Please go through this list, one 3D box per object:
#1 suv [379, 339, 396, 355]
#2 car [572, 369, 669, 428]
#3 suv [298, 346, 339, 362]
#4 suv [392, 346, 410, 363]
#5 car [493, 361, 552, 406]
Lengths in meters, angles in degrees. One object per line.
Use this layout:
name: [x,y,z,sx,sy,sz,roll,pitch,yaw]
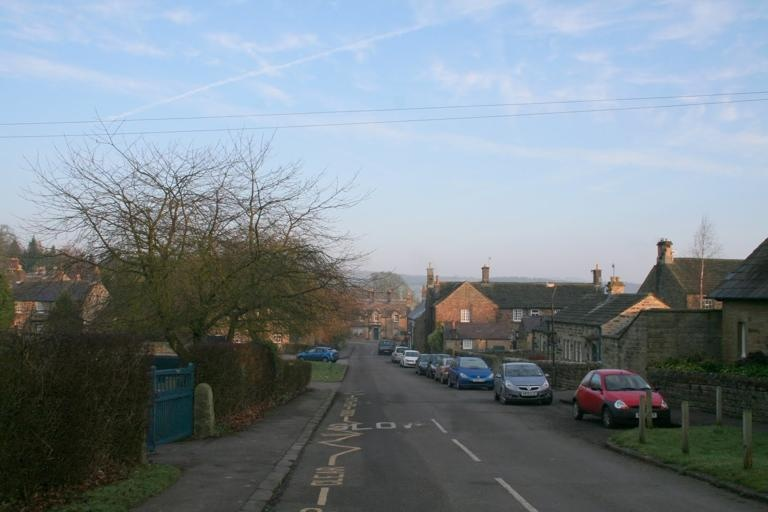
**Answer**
suv: [0.375,12.689,101.278,2.021,1.673,1.679,-1,-1,6]
car: [8.056,4.820,24.287,1.684,1.866,3.642,-1,-2,-14]
suv: [-6.292,9.687,71.494,2.864,1.173,5.975,0,-2,-24]
suv: [1.837,10.286,76.296,1.270,1.064,2.273,2,-11,-9]
car: [6.062,5.545,31.471,2.036,1.673,2.326,-1,-2,-3]
